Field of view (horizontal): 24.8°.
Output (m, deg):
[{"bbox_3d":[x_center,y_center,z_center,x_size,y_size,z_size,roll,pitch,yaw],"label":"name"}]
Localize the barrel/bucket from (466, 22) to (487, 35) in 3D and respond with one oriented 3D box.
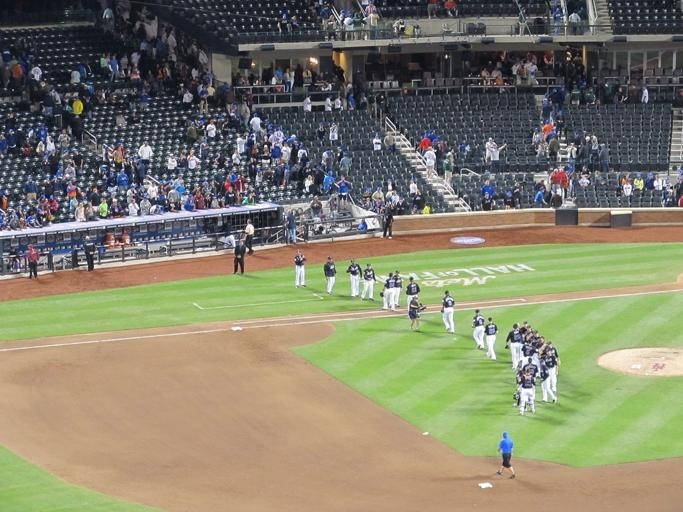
[{"bbox_3d":[7.471,-12.515,85.912,0.960,0.568,0.672,0,31,-2],"label":"barrel/bucket"}]
